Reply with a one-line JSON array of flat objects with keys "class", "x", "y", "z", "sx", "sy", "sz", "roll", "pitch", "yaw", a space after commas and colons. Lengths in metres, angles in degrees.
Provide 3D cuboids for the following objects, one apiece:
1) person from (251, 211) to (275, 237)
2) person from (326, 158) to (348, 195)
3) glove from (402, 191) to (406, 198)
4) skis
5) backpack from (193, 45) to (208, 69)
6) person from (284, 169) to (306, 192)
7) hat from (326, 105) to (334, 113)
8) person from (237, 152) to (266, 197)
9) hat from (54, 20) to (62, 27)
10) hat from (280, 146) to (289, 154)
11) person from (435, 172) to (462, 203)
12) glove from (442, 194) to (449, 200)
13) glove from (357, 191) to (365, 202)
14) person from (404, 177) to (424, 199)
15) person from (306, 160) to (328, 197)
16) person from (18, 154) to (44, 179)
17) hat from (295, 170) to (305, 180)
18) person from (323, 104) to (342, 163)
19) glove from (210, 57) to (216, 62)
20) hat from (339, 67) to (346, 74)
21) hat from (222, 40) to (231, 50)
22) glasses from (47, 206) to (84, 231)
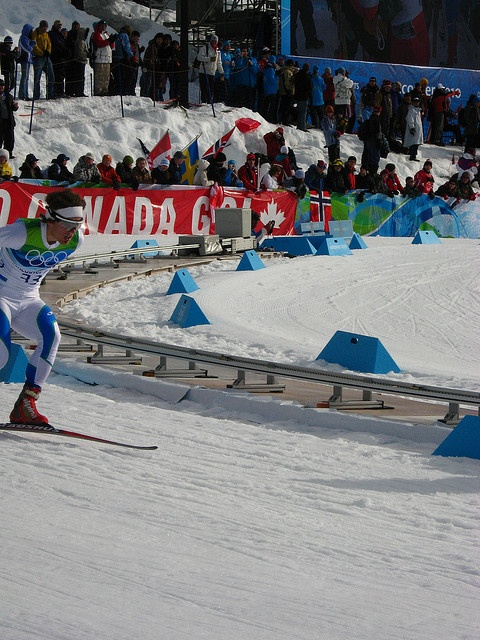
[{"class": "person", "x": 0.525, "y": -2.231, "z": 17.675, "sx": 0.502, "sy": 0.544, "sz": 0.984, "roll": 2, "pitch": 8, "yaw": 1}, {"class": "person", "x": 2.532, "y": -3.675, "z": 19.814, "sx": 0.602, "sy": 0.884, "sz": 1.073, "roll": 5, "pitch": 9, "yaw": 18}, {"class": "glove", "x": 4.455, "y": -3.402, "z": 20.772, "sx": 0.090, "sy": 0.190, "sz": 0.216, "roll": 4, "pitch": 8, "yaw": 9}, {"class": "skis", "x": -1.004, "y": 0.716, "z": 4.715, "sx": 0.824, "sy": 0.075, "sz": 0.082, "roll": 4, "pitch": -1, "yaw": 4}, {"class": "backpack", "x": -1.128, "y": -7.675, "z": 22.469, "sx": 0.477, "sy": 0.595, "sz": 0.666, "roll": 11, "pitch": 13, "yaw": 28}, {"class": "person", "x": 1.424, "y": -3.573, "z": 19.768, "sx": 0.302, "sy": 0.382, "sz": 0.905, "roll": 27, "pitch": -15, "yaw": 0}, {"class": "hat", "x": 2.725, "y": -6.333, "z": 23.192, "sx": 0.241, "sy": 0.229, "sz": 0.304, "roll": -2, "pitch": -4, "yaw": 1}, {"class": "person", "x": 0.240, "y": -3.445, "z": 18.096, "sx": 0.488, "sy": 0.936, "sz": 0.512, "roll": 1, "pitch": 9, "yaw": -7}, {"class": "hat", "x": -4.288, "y": -7.081, "z": 18.405, "sx": 0.164, "sy": 0.185, "sz": 0.205, "roll": -15, "pitch": 32, "yaw": -29}, {"class": "hat", "x": 1.233, "y": -4.680, "z": 21.276, "sx": 0.178, "sy": 0.184, "sz": 0.213, "roll": 4, "pitch": -28, "yaw": -26}, {"class": "person", "x": 5.972, "y": -3.747, "z": 21.850, "sx": 0.658, "sy": 0.662, "sz": 1.310, "roll": 6, "pitch": 9, "yaw": 24}, {"class": "glove", "x": 5.762, "y": -3.449, "z": 21.482, "sx": 0.069, "sy": 0.106, "sz": 0.209, "roll": 5, "pitch": -9, "yaw": -45}, {"class": "glove", "x": 3.145, "y": -3.186, "z": 19.898, "sx": 0.239, "sy": 0.292, "sz": 0.087, "roll": -6, "pitch": 12, "yaw": -43}, {"class": "person", "x": 4.689, "y": -3.631, "z": 21.068, "sx": 0.575, "sy": 0.708, "sz": 0.236, "roll": -3, "pitch": -26, "yaw": -25}, {"class": "person", "x": 1.986, "y": -3.746, "z": 19.939, "sx": 0.538, "sy": 0.740, "sz": 0.377, "roll": 2, "pitch": 8, "yaw": -2}, {"class": "person", "x": -4.211, "y": -3.084, "z": 15.460, "sx": 0.421, "sy": 0.510, "sz": 0.728, "roll": 2, "pitch": 8, "yaw": 2}, {"class": "hat", "x": 1.564, "y": -3.769, "z": 19.904, "sx": 0.257, "sy": 0.270, "sz": 0.364, "roll": 3, "pitch": 8, "yaw": 6}, {"class": "person", "x": 2.780, "y": -5.646, "z": 23.292, "sx": 0.576, "sy": 1.801, "sz": 1.179, "roll": 3, "pitch": 8, "yaw": 6}, {"class": "glove", "x": -0.758, "y": -7.516, "z": 22.177, "sx": 0.168, "sy": 0.116, "sz": 0.255, "roll": 1, "pitch": 8, "yaw": -6}, {"class": "hat", "x": 3.104, "y": -7.477, "z": 23.059, "sx": 0.148, "sy": 0.164, "sz": 0.155, "roll": 14, "pitch": -2, "yaw": -12}, {"class": "hat", "x": -0.406, "y": -8.194, "z": 23.075, "sx": 0.188, "sy": 0.215, "sz": 0.379, "roll": 1, "pitch": 8, "yaw": -6}, {"class": "glasses", "x": -1.028, "y": -0.601, "z": 4.610, "sx": 0.154, "sy": 0.067, "sz": 0.173, "roll": -8, "pitch": 33, "yaw": -29}]
